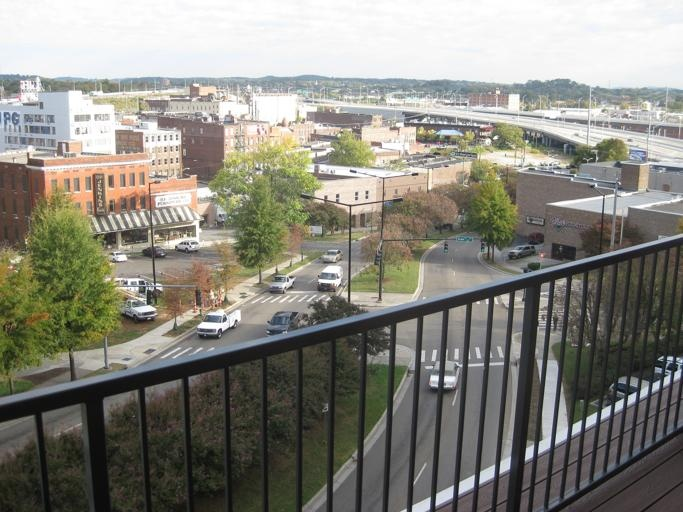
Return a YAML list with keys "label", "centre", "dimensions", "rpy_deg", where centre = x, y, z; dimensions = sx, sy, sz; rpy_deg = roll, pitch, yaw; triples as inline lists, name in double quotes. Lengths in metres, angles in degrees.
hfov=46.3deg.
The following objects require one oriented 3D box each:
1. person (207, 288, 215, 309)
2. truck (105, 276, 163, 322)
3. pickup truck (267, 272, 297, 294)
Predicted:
- label: "person"
  centre: [-5.688, 1.738, 35.013]
  dimensions: [0.308, 0.836, 0.446]
  rpy_deg: [-2, 9, -15]
- label: "truck"
  centre: [-8.804, 2.029, 35.087]
  dimensions: [1.822, 0.986, 3.085]
  rpy_deg: [-12, 18, -38]
- label: "pickup truck"
  centre: [-2.969, 1.289, 40.173]
  dimensions: [0.829, 0.689, 1.935]
  rpy_deg: [0, 3, 5]
